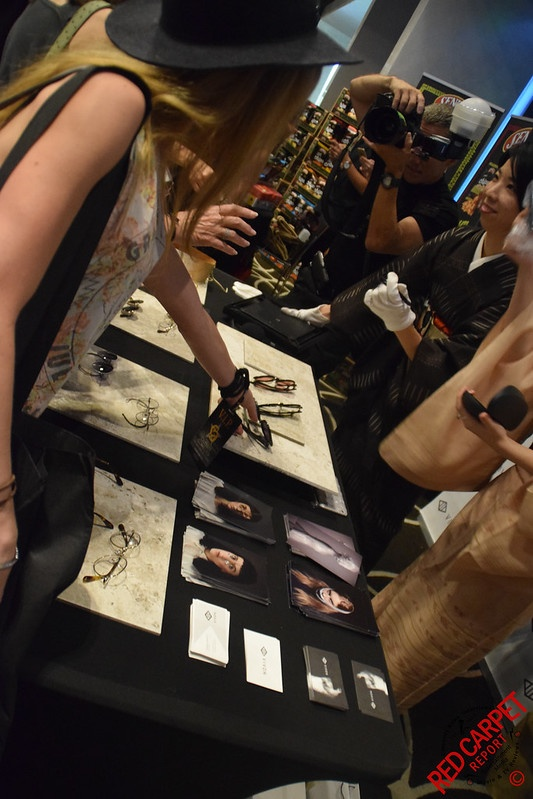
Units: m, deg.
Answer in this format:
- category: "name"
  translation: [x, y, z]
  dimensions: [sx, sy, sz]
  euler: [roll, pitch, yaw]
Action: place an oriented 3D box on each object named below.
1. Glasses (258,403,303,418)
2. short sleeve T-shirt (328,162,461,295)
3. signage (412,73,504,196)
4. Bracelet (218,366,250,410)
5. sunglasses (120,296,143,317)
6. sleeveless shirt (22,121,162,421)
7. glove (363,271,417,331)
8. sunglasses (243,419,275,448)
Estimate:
- category: "Glasses"
  translation: [0.043, 0.035, 1.735]
  dimensions: [0.107, 0.026, 0.057]
  euler: [2, 24, -33]
- category: "short sleeve T-shirt"
  translation: [0.644, -0.860, 2.768]
  dimensions: [0.319, 0.408, 1.092]
  euler: [4, 7, -12]
- category: "signage"
  translation: [1.630, -2.418, 5.093]
  dimensions: [0.736, 0.996, 0.044]
  euler: [24, 65, 1]
- category: "Bracelet"
  translation: [-0.081, -0.024, 1.444]
  dimensions: [0.048, 0.099, 0.088]
  euler: [21, 25, -1]
- category: "sunglasses"
  translation: [-0.435, -0.293, 1.757]
  dimensions: [0.044, 0.031, 0.104]
  euler: [-19, 17, 27]
- category: "sleeveless shirt"
  translation: [-0.254, -0.164, 0.795]
  dimensions: [0.051, 0.471, 0.112]
  euler: [33, 45, -7]
- category: "glove"
  translation: [0.454, -0.393, 2.126]
  dimensions: [0.148, 0.187, 0.187]
  euler: [-4, 5, 28]
- category: "sunglasses"
  translation: [-0.020, 0.098, 1.542]
  dimensions: [0.048, 0.028, 0.103]
  euler: [-5, 30, -12]
